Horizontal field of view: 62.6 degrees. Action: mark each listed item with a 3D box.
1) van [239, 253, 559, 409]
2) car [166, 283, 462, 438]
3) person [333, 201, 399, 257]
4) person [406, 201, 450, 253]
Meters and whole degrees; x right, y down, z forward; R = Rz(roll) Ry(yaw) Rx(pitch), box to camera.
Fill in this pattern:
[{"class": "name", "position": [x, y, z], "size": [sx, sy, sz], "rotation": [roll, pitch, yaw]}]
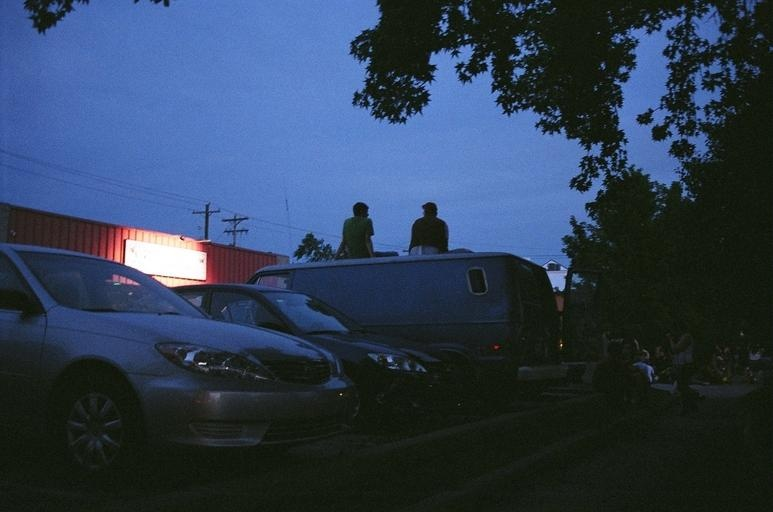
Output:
[{"class": "van", "position": [0.342, 1.089, 10.622], "size": [4.167, 1.835, 2.431], "rotation": [0, -7, 22]}, {"class": "car", "position": [-1.120, 1.331, 8.795], "size": [3.976, 1.317, 1.823], "rotation": [-2, -7, 22]}, {"class": "person", "position": [-0.552, -0.473, 12.309], "size": [0.830, 1.097, 1.560], "rotation": [3, 0, -8]}, {"class": "person", "position": [0.845, -0.403, 12.323], "size": [0.768, 1.186, 0.727], "rotation": [3, -2, -2]}]
